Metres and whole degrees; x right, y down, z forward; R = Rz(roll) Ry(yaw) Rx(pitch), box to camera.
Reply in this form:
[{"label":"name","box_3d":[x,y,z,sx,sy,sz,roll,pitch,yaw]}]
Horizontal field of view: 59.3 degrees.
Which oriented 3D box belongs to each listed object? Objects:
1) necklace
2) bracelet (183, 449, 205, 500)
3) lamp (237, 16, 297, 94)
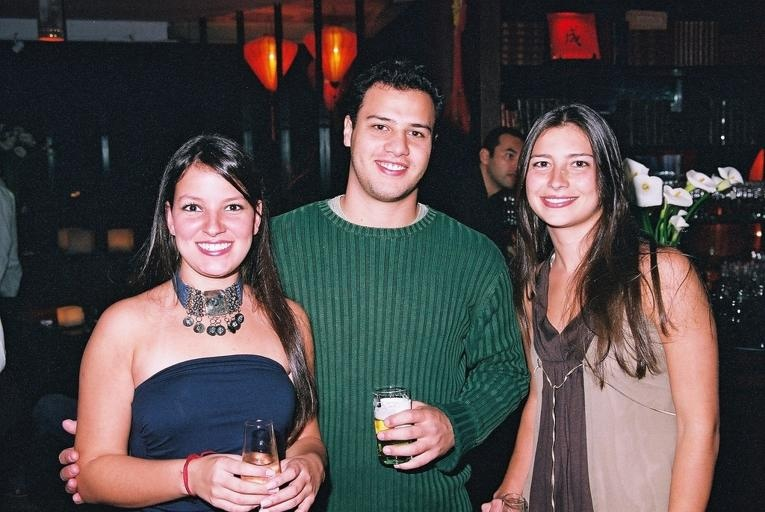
[{"label":"necklace","box_3d":[-0.865,0.212,3.322,0.259,0.163,0.337,-2,15,-17]},{"label":"bracelet","box_3d":[-0.859,0.970,3.033,0.135,0.168,0.042,5,-6,-39]},{"label":"lamp","box_3d":[-1.034,-2.078,7.092,0.657,0.720,0.596,-25,23,-10]}]
